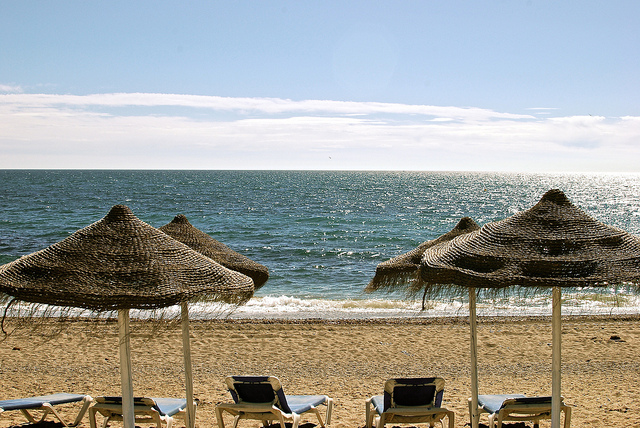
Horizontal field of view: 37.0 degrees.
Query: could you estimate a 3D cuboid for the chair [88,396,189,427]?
[{"bbox_3d":[-3.755,4.055,19.810,1.315,0.517,1.335,0,-8,9],"label":"chair"}]
